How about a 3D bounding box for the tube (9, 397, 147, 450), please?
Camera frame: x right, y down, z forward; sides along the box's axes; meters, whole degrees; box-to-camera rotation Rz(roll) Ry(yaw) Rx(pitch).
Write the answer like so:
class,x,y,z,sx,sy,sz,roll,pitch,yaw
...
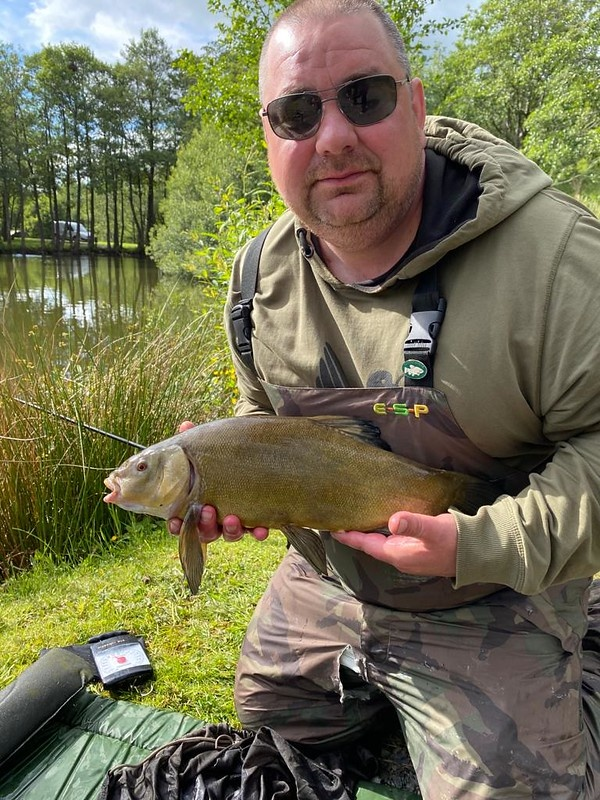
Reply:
class,x,y,z,sx,sy,sz,roll,pitch,yaw
tube,-1.538,0.162,4.375,2.108,0.085,0.135,10,51,49
